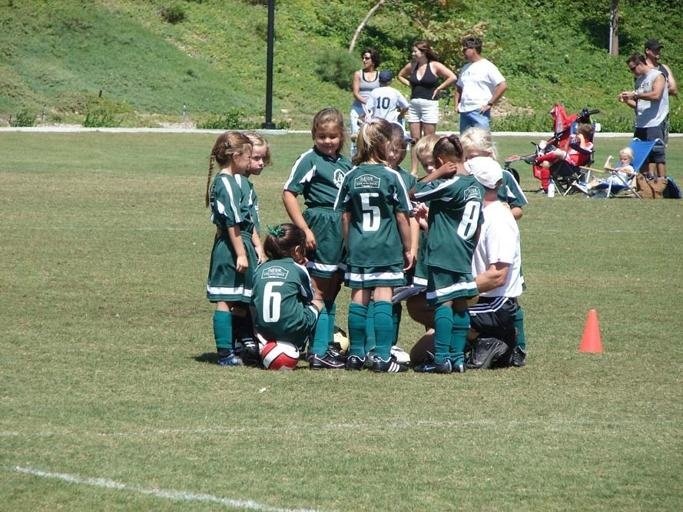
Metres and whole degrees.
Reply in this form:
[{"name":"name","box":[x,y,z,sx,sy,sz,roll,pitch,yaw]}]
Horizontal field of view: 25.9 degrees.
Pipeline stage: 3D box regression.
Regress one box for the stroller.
[{"name":"stroller","box":[4.172,-1.903,27.670,1.048,1.374,0.877,12,3,-23]}]

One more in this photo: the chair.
[{"name":"chair","box":[4.861,-1.633,27.488,2.352,1.327,1.109,5,5,-6]}]

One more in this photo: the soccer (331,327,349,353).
[{"name":"soccer","box":[-0.001,1.061,18.897,0.294,0.259,0.242,0,0,2]}]

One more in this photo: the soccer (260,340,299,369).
[{"name":"soccer","box":[-0.725,1.217,18.209,0.400,0.309,0.400,-13,-35,43]}]

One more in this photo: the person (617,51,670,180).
[{"name":"person","box":[5.555,-2.522,26.867,0.923,2.225,0.782,-4,8,-38]}]

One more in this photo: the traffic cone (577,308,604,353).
[{"name":"traffic cone","box":[3.204,0.921,18.840,0.295,0.502,0.549,2,7,10]}]

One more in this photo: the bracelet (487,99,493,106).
[{"name":"bracelet","box":[2.450,-2.485,24.251,0.023,0.082,0.058,18,-27,-10]}]

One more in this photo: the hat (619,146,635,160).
[{"name":"hat","box":[5.208,-1.849,26.922,0.178,0.186,0.236,-3,-6,12]}]

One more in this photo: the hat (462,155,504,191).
[{"name":"hat","box":[1.782,-1.027,18.382,0.503,0.398,0.318,1,6,-5]}]
